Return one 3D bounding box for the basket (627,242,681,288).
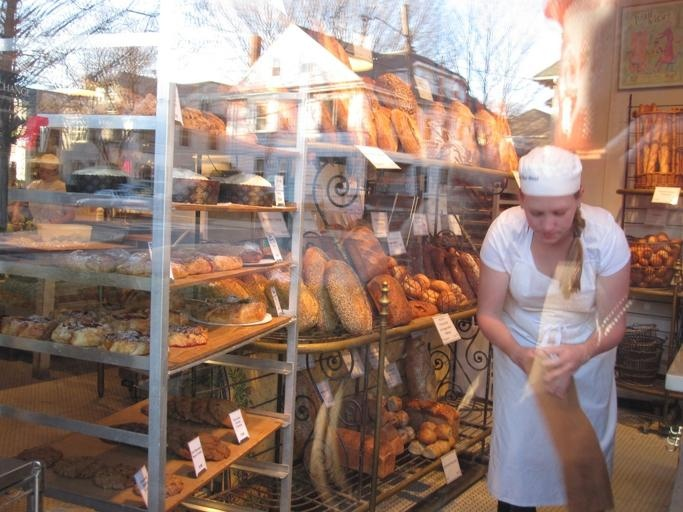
[{"bbox_3d":[1.148,0.046,2.067,0.167,0.141,0.187,1,-3,-10],"label":"basket"}]

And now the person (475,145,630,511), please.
[{"bbox_3d":[0.713,0.329,1.871,0.503,1.354,0.439,4,5,18],"label":"person"}]

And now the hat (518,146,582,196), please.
[{"bbox_3d":[0.628,-0.245,1.641,0.161,0.108,0.165,-1,19,12],"label":"hat"}]
